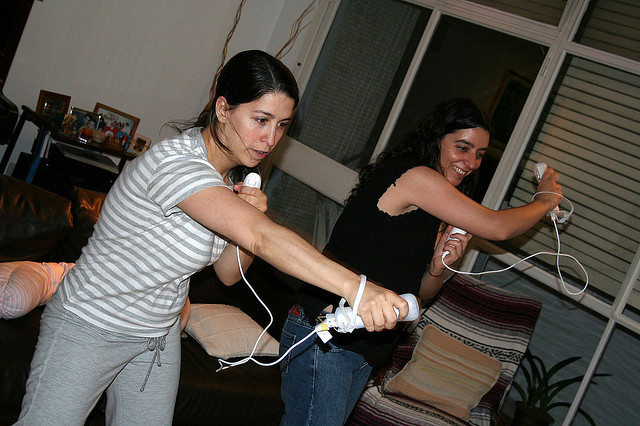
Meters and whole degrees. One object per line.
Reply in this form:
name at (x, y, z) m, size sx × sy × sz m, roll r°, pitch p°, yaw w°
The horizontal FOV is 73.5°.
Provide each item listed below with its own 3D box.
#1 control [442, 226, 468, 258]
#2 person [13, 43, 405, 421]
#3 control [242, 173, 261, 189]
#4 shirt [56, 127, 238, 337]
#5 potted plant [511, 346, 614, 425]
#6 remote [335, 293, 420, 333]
control at (0.616, 0.129, 1.983) m, size 0.060 × 0.127 × 0.211 m, roll 24°, pitch 12°, yaw 19°
person at (-0.425, 0.173, 1.597) m, size 0.984 × 1.556 × 0.451 m, roll 21°, pitch 11°, yaw 2°
control at (-0.275, -0.130, 1.726) m, size 0.063 × 0.073 × 0.026 m, roll 1°, pitch -12°, yaw -5°
shirt at (-0.626, 0.062, 1.618) m, size 0.514 × 0.803 × 0.289 m, roll 22°, pitch 11°, yaw 9°
potted plant at (1.577, 1.153, 2.941) m, size 0.498 × 0.355 × 0.508 m, roll 21°, pitch 2°, yaw 34°
remote at (0.181, 0.293, 1.390) m, size 0.316 × 0.111 × 0.105 m, roll -10°, pitch 56°, yaw -4°
